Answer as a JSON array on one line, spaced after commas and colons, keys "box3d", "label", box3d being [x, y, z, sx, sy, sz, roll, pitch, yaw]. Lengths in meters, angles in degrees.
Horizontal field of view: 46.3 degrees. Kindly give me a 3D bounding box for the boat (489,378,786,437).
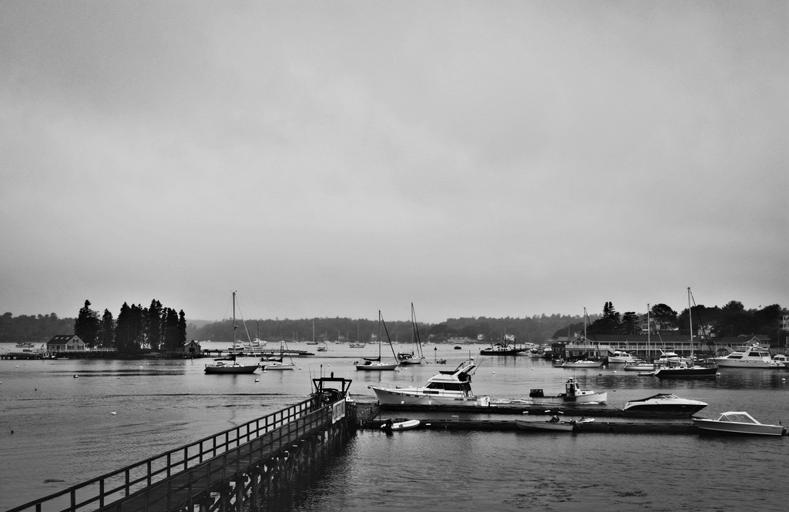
[{"box3d": [28.459, 16.246, 99.434, 8.260, 2.948, 27.433, 3, -3, -38], "label": "boat"}]
